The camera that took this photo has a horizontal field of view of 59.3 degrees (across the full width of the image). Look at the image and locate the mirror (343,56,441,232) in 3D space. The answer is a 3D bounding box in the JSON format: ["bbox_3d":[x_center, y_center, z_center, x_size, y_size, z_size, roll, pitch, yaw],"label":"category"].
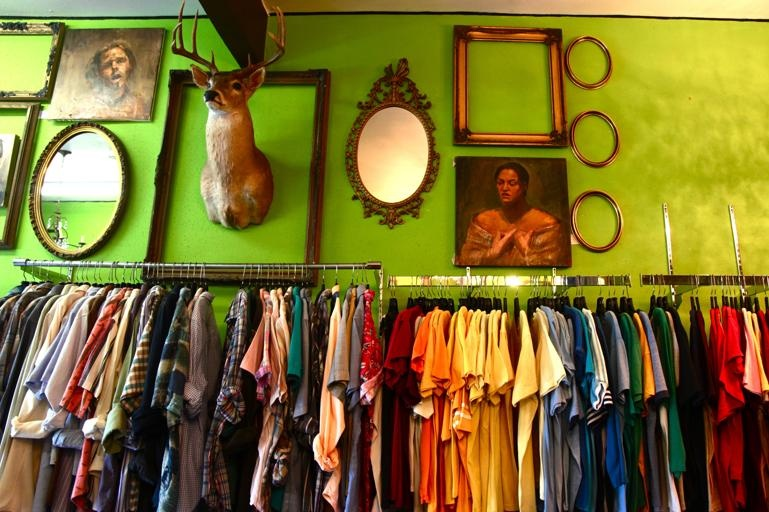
[{"bbox_3d":[0.059,-0.728,4.453,0.628,1.137,0.052,-1,28,-4],"label":"mirror"}]

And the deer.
[{"bbox_3d":[-0.960,-0.840,4.231,0.595,1.269,0.609,3,-6,-11],"label":"deer"}]

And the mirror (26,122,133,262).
[{"bbox_3d":[-2.022,-0.396,4.511,0.781,1.047,0.074,-4,-13,3],"label":"mirror"}]

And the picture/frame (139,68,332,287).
[{"bbox_3d":[-0.933,-0.460,4.377,1.354,1.751,0.116,0,-19,5],"label":"picture/frame"}]

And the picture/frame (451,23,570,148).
[{"bbox_3d":[0.838,-1.119,4.536,0.761,0.908,0.082,1,-13,-3],"label":"picture/frame"}]
